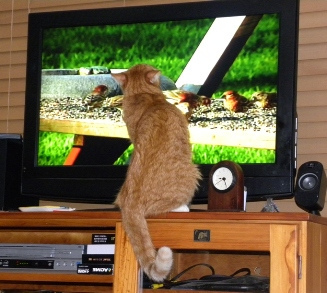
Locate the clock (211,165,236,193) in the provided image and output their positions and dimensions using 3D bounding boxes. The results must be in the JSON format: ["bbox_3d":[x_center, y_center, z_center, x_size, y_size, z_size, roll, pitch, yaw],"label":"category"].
[{"bbox_3d":[0.221,0.119,1.831,0.096,0.097,0.022,0,-1,40],"label":"clock"}]

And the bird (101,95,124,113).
[{"bbox_3d":[-0.223,-0.195,2.237,0.070,0.023,0.090,-26,17,-26],"label":"bird"}]

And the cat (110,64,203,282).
[{"bbox_3d":[-0.022,0.102,1.997,0.358,0.808,0.348,-20,-26,36],"label":"cat"}]
